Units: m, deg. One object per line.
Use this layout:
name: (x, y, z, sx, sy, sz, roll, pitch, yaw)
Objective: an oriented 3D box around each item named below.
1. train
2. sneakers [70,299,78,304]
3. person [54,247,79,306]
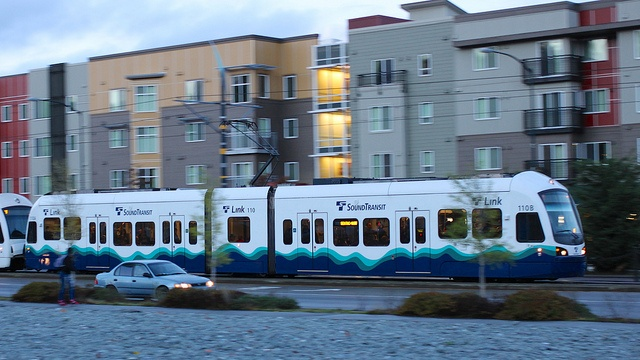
train: (-1.387, 2.977, 60.009, 52.558, 6.023, 7.159, -2, -3, 21)
sneakers: (-12.618, 6.248, 52.281, 0.441, 0.233, 0.243, -1, -4, -11)
person: (-13.122, 4.987, 52.621, 0.940, 2.878, 1.076, -2, -5, -14)
